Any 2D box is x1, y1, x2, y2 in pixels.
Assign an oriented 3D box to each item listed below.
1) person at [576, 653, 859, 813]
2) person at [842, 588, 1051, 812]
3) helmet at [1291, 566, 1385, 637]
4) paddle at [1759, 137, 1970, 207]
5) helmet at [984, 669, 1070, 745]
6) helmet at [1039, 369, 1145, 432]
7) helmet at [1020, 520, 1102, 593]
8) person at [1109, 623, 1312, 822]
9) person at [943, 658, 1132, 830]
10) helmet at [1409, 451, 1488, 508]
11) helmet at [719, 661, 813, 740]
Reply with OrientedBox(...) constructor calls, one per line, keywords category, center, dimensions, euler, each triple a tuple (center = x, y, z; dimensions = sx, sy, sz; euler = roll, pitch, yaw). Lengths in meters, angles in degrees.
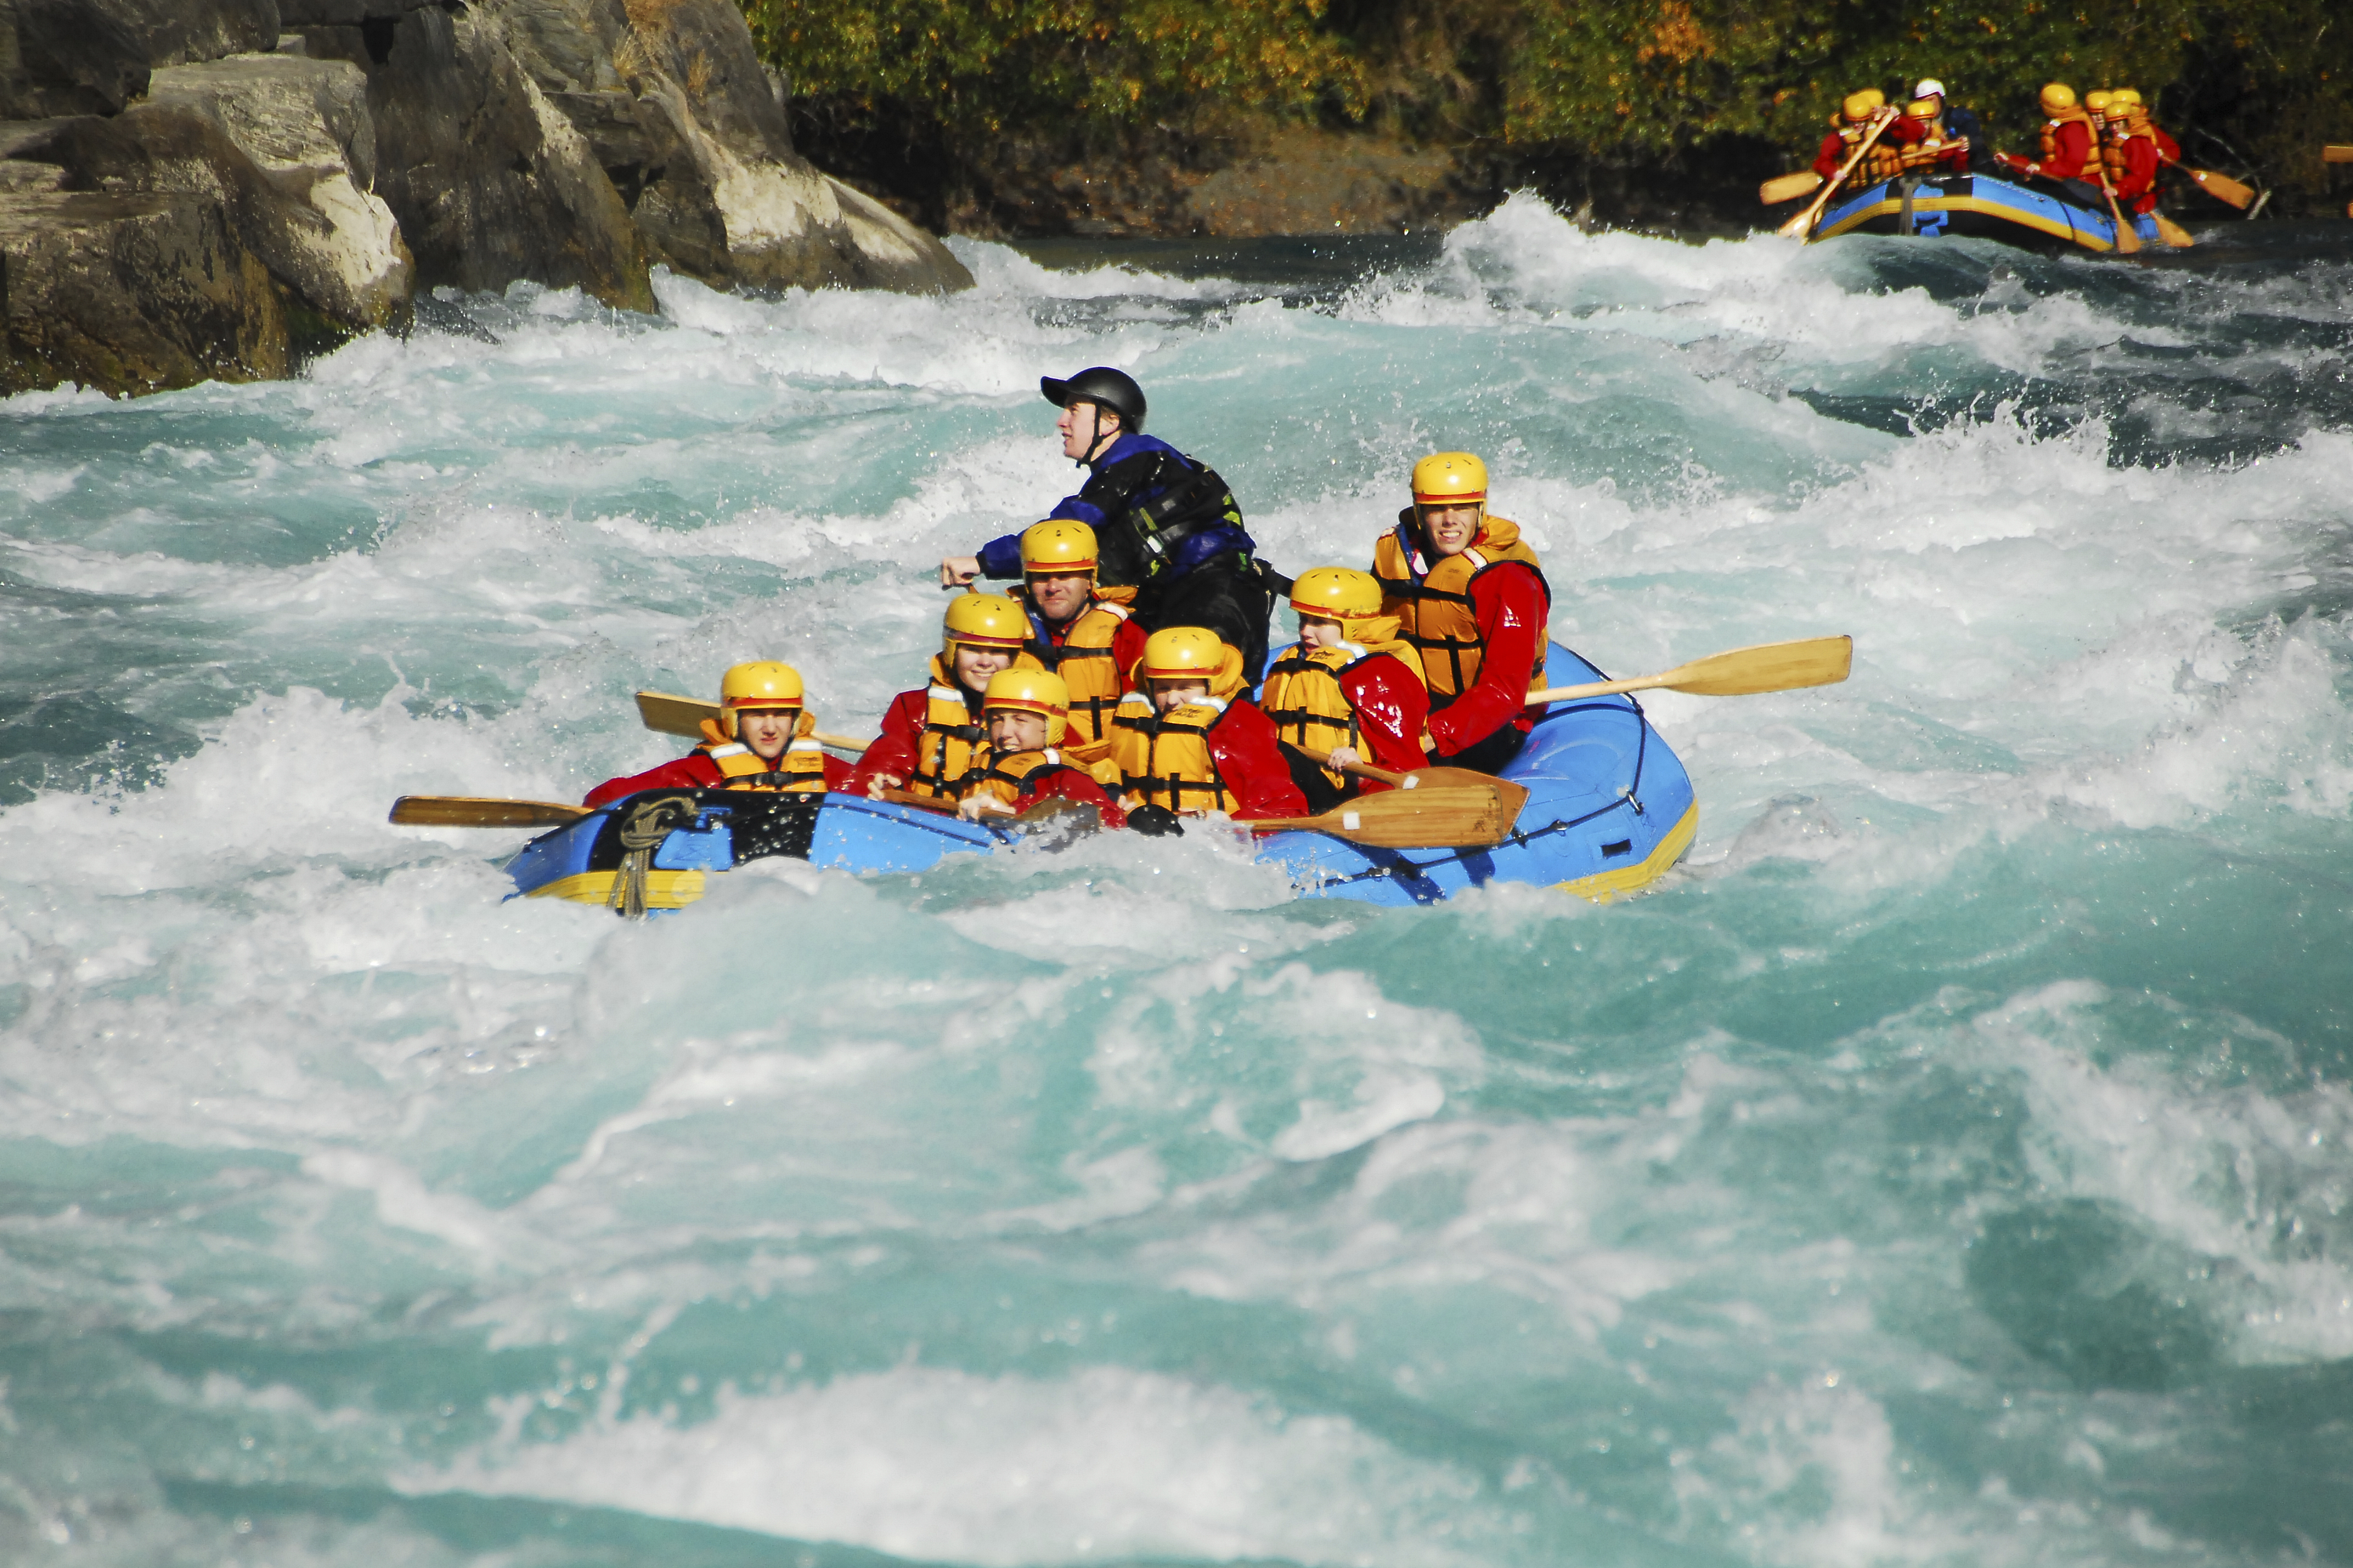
OrientedBox(category="person", center=(-2.008, -0.160, 11.745), dimensions=(1.781, 0.661, 0.390), euler=(-6, 4, -28))
OrientedBox(category="person", center=(-1.090, -0.375, 11.752), dimensions=(0.700, 1.127, 0.456), euler=(25, 6, 6))
OrientedBox(category="helmet", center=(0.777, -0.858, 11.671), dimensions=(0.405, 0.255, 0.311), euler=(0, 19, -20))
OrientedBox(category="paddle", center=(6.839, -6.254, 25.538), dimensions=(1.091, 0.340, 1.863), euler=(-14, 1, -22))
OrientedBox(category="helmet", center=(-0.655, -0.380, 11.407), dimensions=(0.340, 0.290, 0.381), euler=(5, 22, 17))
OrientedBox(category="helmet", center=(-0.384, -2.069, 12.778), dimensions=(0.587, 0.253, 0.382), euler=(16, -4, -5))
OrientedBox(category="helmet", center=(-0.572, -1.102, 11.893), dimensions=(0.364, 0.321, 0.363), euler=(-10, 25, -5))
OrientedBox(category="person", center=(0.087, -0.252, 11.379), dimensions=(0.920, 0.862, 0.409), euler=(-3, -6, 9))
OrientedBox(category="person", center=(-0.636, -0.181, 11.330), dimensions=(0.792, 0.709, 0.332), euler=(-1, -4, 20))
OrientedBox(category="helmet", center=(1.286, -1.433, 11.932), dimensions=(0.421, 0.370, 0.507), euler=(1, 16, 7))
OrientedBox(category="helmet", center=(-1.966, -0.432, 11.763), dimensions=(0.349, 0.306, 0.430), euler=(-2, 19, -16))
